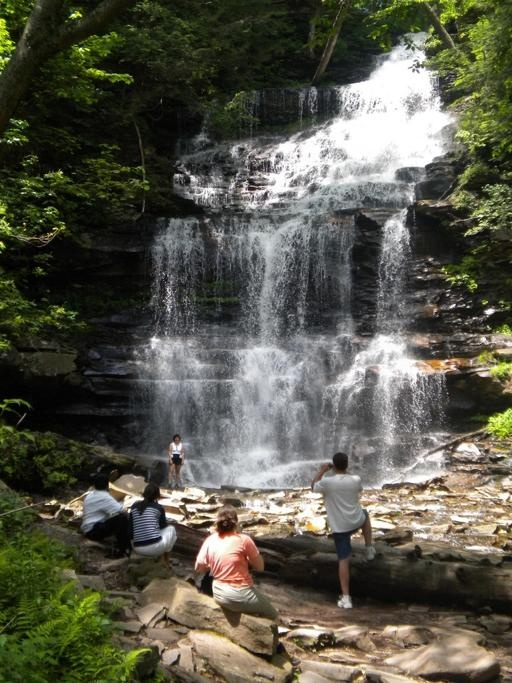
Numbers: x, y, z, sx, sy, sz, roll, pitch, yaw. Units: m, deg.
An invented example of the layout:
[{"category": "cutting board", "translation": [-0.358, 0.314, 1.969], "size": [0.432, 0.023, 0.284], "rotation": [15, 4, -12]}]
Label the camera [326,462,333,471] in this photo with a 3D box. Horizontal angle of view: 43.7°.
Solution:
[{"category": "camera", "translation": [0.807, 1.382, 6.979], "size": [0.086, 0.091, 0.106], "rotation": [-3, 18, 0]}]

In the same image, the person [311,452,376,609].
[{"category": "person", "translation": [0.980, 2.049, 7.035], "size": [0.667, 1.645, 0.754], "rotation": [-2, -3, 8]}]

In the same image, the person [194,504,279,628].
[{"category": "person", "translation": [-0.192, 2.024, 5.725], "size": [0.690, 1.048, 0.305], "rotation": [-2, -3, 7]}]

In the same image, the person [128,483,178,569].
[{"category": "person", "translation": [-1.156, 2.033, 7.135], "size": [0.515, 0.818, 0.367], "rotation": [-1, -3, -11]}]

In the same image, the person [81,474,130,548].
[{"category": "person", "translation": [-1.839, 2.109, 7.740], "size": [0.514, 0.899, 0.687], "rotation": [0, -3, -25]}]

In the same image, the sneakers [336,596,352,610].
[{"category": "sneakers", "translation": [0.949, 2.795, 6.812], "size": [0.165, 0.135, 0.171], "rotation": [-1, -3, 5]}]
